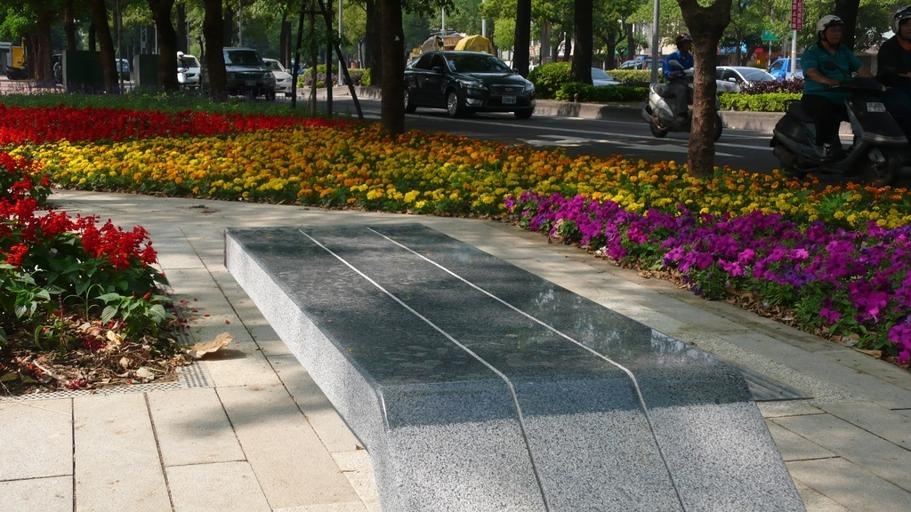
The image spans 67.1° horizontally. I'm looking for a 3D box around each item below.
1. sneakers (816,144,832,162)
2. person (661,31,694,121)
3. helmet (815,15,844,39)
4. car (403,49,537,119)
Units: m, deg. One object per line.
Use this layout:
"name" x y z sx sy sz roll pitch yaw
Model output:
"sneakers" 6.096 -1.702 11.371 0.182 0.271 0.289 7 44 14
"person" 5.668 -4.574 17.610 0.738 2.056 0.977 4 18 15
"helmet" 6.225 -3.865 11.559 0.375 0.342 0.485 -9 13 -43
"car" 0.459 -6.302 25.172 2.103 2.213 4.773 -13 21 -36
